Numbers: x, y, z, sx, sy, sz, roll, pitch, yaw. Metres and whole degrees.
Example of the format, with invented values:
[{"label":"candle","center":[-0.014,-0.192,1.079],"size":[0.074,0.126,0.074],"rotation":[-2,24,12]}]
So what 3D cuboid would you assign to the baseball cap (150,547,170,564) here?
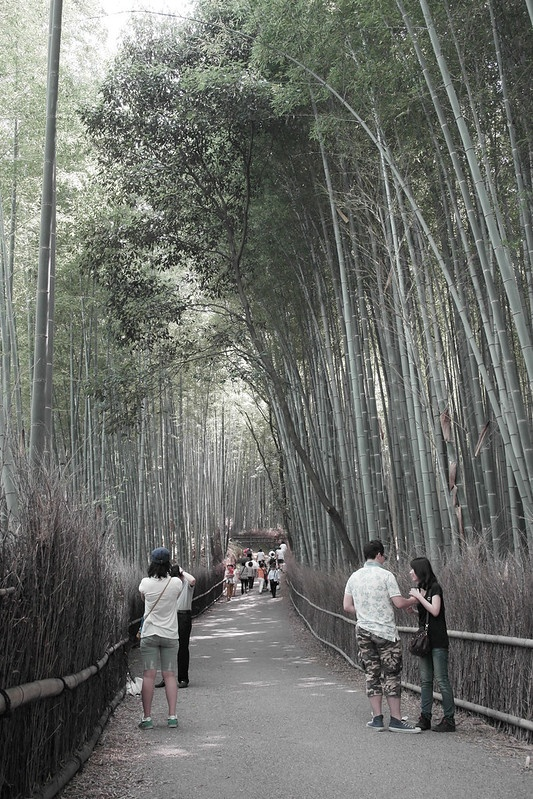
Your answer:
[{"label":"baseball cap","center":[-0.604,0.935,3.635],"size":[0.098,0.107,0.169],"rotation":[0,9,-6]}]

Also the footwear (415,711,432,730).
[{"label":"footwear","center":[0.737,1.530,2.991],"size":[0.071,0.111,0.043],"rotation":[6,-10,-1]}]

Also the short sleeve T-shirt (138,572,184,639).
[{"label":"short sleeve T-shirt","center":[-0.573,1.116,3.537],"size":[0.183,0.418,0.192],"rotation":[3,18,-7]}]

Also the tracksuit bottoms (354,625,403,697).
[{"label":"tracksuit bottoms","center":[0.539,1.271,3.046],"size":[0.201,0.331,0.250],"rotation":[-4,-7,9]}]

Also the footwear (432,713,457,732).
[{"label":"footwear","center":[0.812,1.504,2.931],"size":[0.100,0.084,0.055],"rotation":[3,-11,-2]}]

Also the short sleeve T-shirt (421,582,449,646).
[{"label":"short sleeve T-shirt","center":[0.787,1.045,3.048],"size":[0.125,0.301,0.154],"rotation":[-4,-7,15]}]

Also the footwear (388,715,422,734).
[{"label":"footwear","center":[0.639,1.518,2.952],"size":[0.153,0.113,0.064],"rotation":[-5,-5,18]}]

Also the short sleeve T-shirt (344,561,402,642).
[{"label":"short sleeve T-shirt","center":[0.509,0.989,3.182],"size":[0.258,0.526,0.168],"rotation":[-3,28,12]}]
